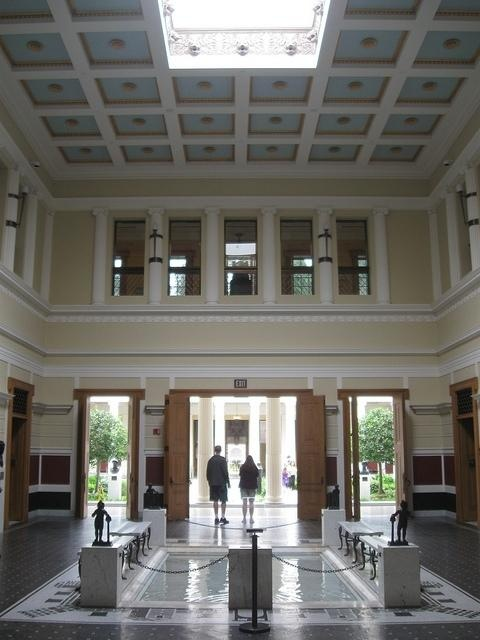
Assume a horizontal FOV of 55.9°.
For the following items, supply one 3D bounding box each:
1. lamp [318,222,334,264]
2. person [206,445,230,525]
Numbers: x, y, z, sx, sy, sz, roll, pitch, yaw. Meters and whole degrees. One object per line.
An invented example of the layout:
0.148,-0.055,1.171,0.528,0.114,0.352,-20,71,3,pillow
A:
2.316,-1.997,12.330,0.405,1.011,0.246,-1,-12,7,lamp
-0.493,3.717,10.213,0.504,1.731,1.058,1,-12,-3,person
